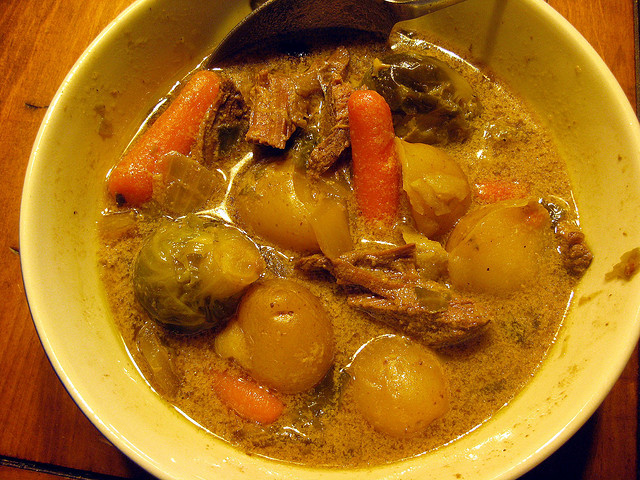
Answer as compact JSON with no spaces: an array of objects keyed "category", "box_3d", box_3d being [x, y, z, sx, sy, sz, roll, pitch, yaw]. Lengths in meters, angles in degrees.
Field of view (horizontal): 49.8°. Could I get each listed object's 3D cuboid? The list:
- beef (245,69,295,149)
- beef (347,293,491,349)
[{"category":"beef","box_3d":[-0.273,-0.702,3.812,0.169,0.398,0.393,8,34,11]},{"category":"beef","box_3d":[0.524,0.432,3.645,0.748,0.287,0.180,1,-5,2]}]
